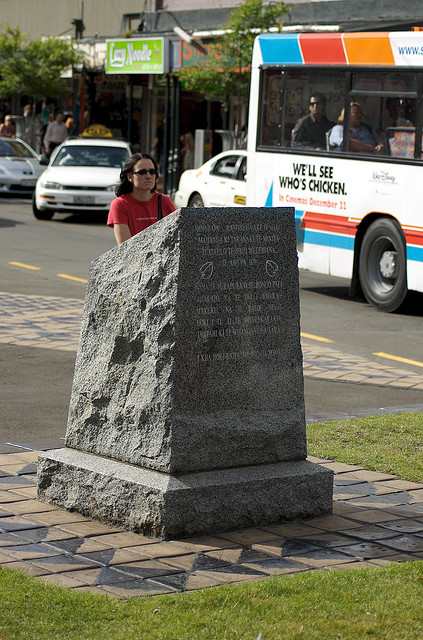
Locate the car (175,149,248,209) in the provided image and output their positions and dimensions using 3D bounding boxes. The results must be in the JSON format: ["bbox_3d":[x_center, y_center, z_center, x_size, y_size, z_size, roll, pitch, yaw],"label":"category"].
[{"bbox_3d":[0.071,-2.321,17.517,0.672,0.890,2.547,-1,6,-15],"label":"car"}]

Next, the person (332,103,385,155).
[{"bbox_3d":[1.829,-2.352,13.116,0.252,0.653,0.990,-1,6,-22],"label":"person"}]

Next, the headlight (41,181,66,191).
[{"bbox_3d":[-3.118,-2.646,21.023,0.156,0.172,0.624,-5,8,-44],"label":"headlight"}]

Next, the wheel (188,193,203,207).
[{"bbox_3d":[-0.267,-2.044,18.102,0.214,0.215,0.597,0,6,-5],"label":"wheel"}]

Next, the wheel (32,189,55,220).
[{"bbox_3d":[-3.492,-2.303,21.831,0.509,0.504,0.517,1,7,0],"label":"wheel"}]

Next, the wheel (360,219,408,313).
[{"bbox_3d":[2.088,-0.670,12.750,0.355,1.137,1.042,0,7,-30],"label":"wheel"}]
